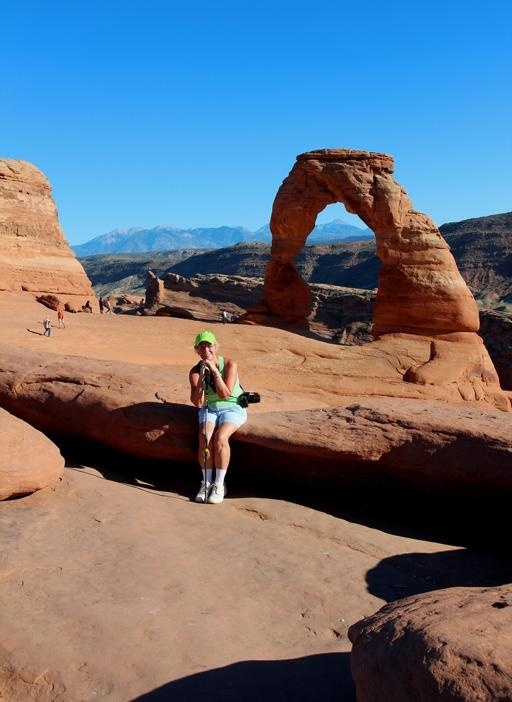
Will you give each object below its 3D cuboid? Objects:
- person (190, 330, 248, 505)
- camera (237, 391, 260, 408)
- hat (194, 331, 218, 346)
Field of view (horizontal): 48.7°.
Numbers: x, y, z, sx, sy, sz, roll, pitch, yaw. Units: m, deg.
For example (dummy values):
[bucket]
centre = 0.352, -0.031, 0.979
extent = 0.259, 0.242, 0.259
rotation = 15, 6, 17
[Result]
[person]
centre = -0.293, 0.421, 3.842
extent = 0.423, 1.066, 0.588
rotation = 7, 5, 0
[camera]
centre = -0.058, 0.349, 4.071
extent = 0.135, 0.120, 0.059
rotation = 0, -3, 13
[hat]
centre = -0.370, -0.087, 4.016
extent = 0.112, 0.077, 0.155
rotation = -2, -9, -4
